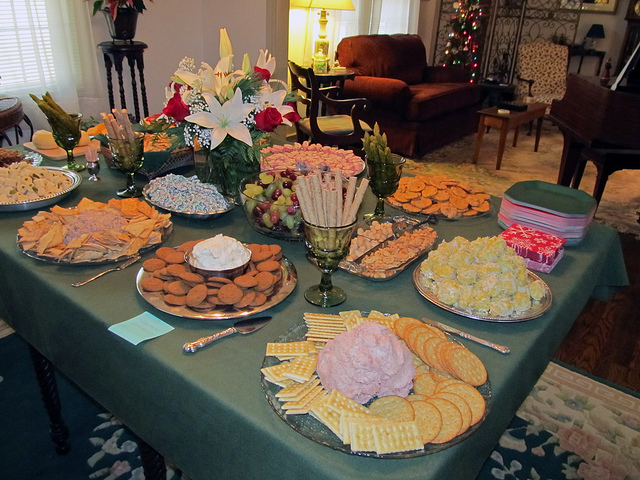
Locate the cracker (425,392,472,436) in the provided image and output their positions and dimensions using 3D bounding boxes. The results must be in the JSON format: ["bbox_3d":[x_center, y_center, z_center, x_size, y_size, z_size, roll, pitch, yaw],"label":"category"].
[{"bbox_3d":[0.265,0.360,0.922,0.106,0.043,0.093,13,23,29],"label":"cracker"}]

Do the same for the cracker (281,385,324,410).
[{"bbox_3d":[-0.033,0.334,0.950,0.034,0.006,0.058,1,24,39],"label":"cracker"}]

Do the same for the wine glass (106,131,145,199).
[{"bbox_3d":[-0.710,-0.282,1.686,0.153,0.214,0.139,-5,20,-19],"label":"wine glass"}]

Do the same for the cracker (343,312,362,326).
[{"bbox_3d":[0.084,0.202,1.133,0.032,0.014,0.045,19,31,31],"label":"cracker"}]

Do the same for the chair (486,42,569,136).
[{"bbox_3d":[3.076,-2.159,6.539,0.990,1.212,0.927,-22,36,-29],"label":"chair"}]

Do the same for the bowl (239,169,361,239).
[{"bbox_3d":[-0.078,-0.151,1.633,0.495,0.188,0.474,-1,-2,0],"label":"bowl"}]

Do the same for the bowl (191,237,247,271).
[{"bbox_3d":[-0.271,0.039,1.218,0.144,0.062,0.099,-4,27,-10],"label":"bowl"}]

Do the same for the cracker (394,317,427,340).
[{"bbox_3d":[0.223,0.220,1.131,0.055,0.012,0.052,11,30,-12],"label":"cracker"}]

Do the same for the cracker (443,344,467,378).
[{"bbox_3d":[0.313,0.272,1.039,0.055,0.012,0.054,33,33,0],"label":"cracker"}]

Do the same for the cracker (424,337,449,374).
[{"bbox_3d":[0.267,0.270,1.057,0.053,0.007,0.062,-17,56,-37],"label":"cracker"}]

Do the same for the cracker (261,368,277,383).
[{"bbox_3d":[-0.113,0.298,0.986,0.027,0.007,0.026,-3,27,-43],"label":"cracker"}]

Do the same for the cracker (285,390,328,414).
[{"bbox_3d":[-0.027,0.337,0.948,0.045,0.007,0.044,-35,28,-26],"label":"cracker"}]

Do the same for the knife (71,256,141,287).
[{"bbox_3d":[-0.630,0.093,1.314,0.171,0.013,0.023,-24,58,-29],"label":"knife"}]

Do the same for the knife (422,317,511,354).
[{"bbox_3d":[0.371,0.244,1.137,0.170,0.013,0.024,20,64,10],"label":"knife"}]

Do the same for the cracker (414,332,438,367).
[{"bbox_3d":[0.250,0.257,1.060,0.055,0.007,0.064,5,52,-25],"label":"cracker"}]

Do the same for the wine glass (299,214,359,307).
[{"bbox_3d":[0.026,0.062,1.228,0.204,0.280,0.202,-2,27,-6],"label":"wine glass"}]

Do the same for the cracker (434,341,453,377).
[{"bbox_3d":[0.289,0.270,1.049,0.048,0.006,0.055,2,47,-31],"label":"cracker"}]

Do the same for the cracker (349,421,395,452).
[{"bbox_3d":[0.083,0.384,0.880,0.073,0.017,0.046,0,53,-6],"label":"cracker"}]

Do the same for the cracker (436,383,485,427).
[{"bbox_3d":[0.313,0.341,0.963,0.067,0.005,0.068,16,38,24],"label":"cracker"}]

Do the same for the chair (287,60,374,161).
[{"bbox_3d":[0.124,-1.133,4.364,0.746,1.062,0.772,-13,31,-25],"label":"chair"}]

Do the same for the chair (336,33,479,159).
[{"bbox_3d":[1.192,-1.942,5.774,1.109,1.280,1.937,19,33,36],"label":"chair"}]

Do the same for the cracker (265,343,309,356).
[{"bbox_3d":[-0.087,0.251,1.041,0.074,0.011,0.037,0,17,3],"label":"cracker"}]

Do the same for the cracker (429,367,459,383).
[{"bbox_3d":[0.273,0.306,1.023,0.035,0.004,0.028,29,40,33],"label":"cracker"}]

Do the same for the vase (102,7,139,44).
[{"bbox_3d":[-1.225,-1.359,2.865,0.236,0.182,0.235,2,27,1],"label":"vase"}]
